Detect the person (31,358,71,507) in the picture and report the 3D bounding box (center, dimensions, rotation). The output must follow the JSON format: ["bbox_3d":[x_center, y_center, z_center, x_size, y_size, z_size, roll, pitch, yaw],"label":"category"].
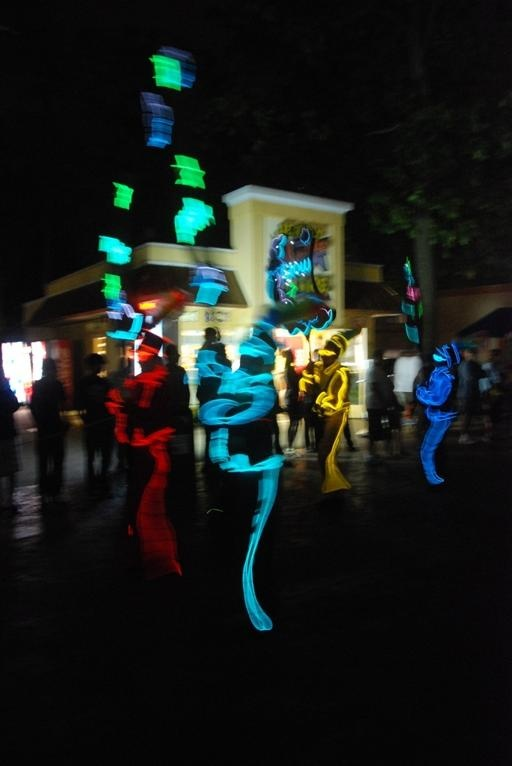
[{"bbox_3d":[-2.545,0.519,8.109,0.417,1.626,1.088,-2,3,-18],"label":"person"}]
